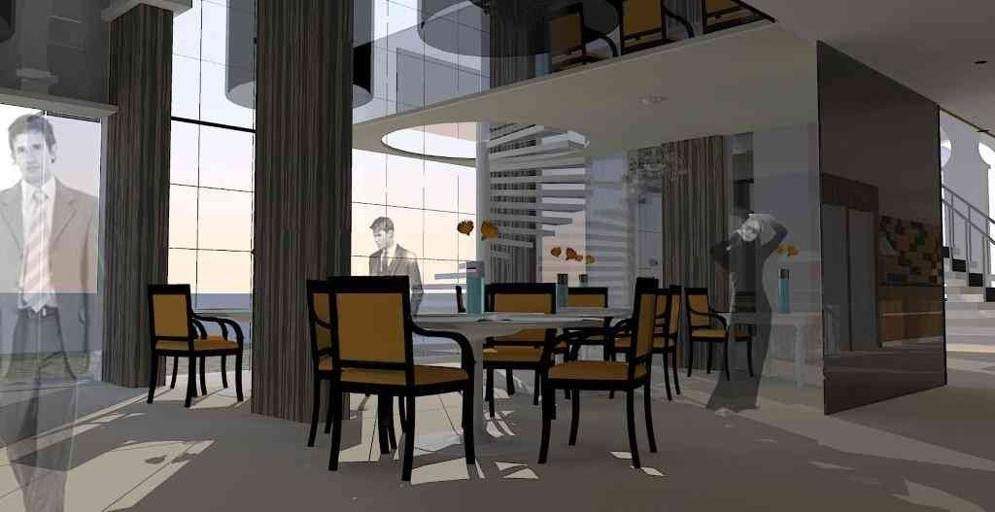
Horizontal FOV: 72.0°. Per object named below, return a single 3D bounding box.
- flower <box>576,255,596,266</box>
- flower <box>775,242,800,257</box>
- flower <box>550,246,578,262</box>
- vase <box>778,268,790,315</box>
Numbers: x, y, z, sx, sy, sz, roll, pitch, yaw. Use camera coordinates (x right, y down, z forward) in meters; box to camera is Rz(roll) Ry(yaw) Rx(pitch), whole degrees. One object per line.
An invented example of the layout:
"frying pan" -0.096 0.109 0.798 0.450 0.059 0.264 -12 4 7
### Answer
"flower" 1.616 0.078 12.588 0.332 0.115 0.237 1 1 -42
"flower" 4.478 -0.080 10.645 0.346 0.120 0.255 6 -5 -33
"flower" 1.153 -0.048 11.867 0.285 0.110 0.449 6 -8 46
"vase" 3.985 0.487 9.599 0.128 0.600 0.218 4 12 17
